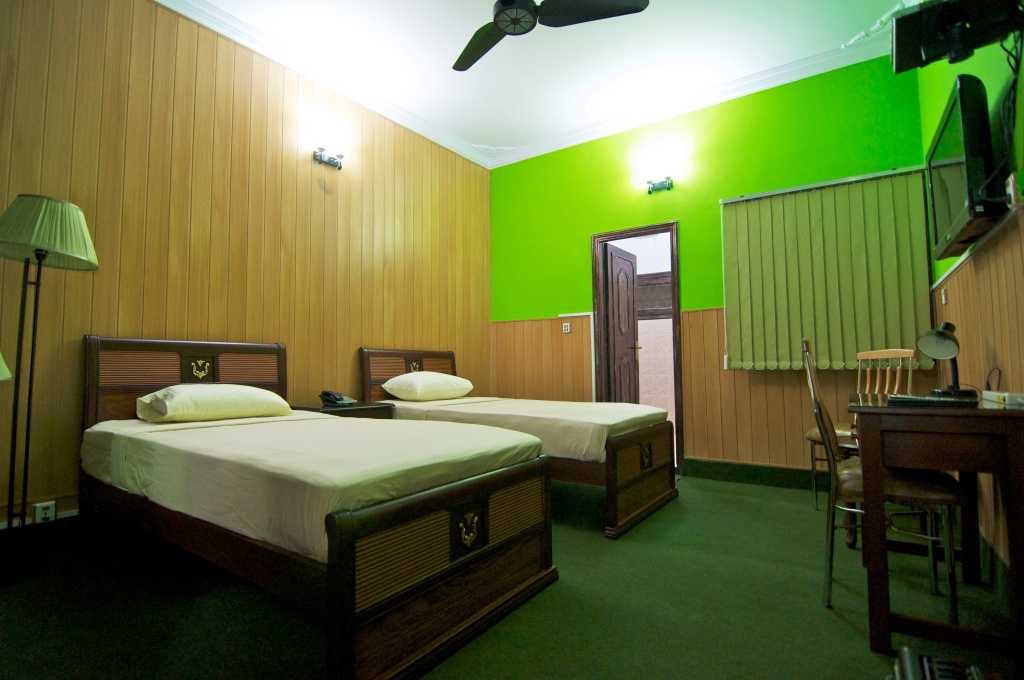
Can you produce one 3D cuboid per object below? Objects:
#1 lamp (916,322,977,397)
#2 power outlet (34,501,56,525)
[{"bbox_3d":[3.134,0.124,4.869,0.289,0.494,1.411,-3,0,33],"label":"lamp"},{"bbox_3d":[-3.710,1.363,5.316,0.096,0.164,0.173,1,-2,31],"label":"power outlet"}]
